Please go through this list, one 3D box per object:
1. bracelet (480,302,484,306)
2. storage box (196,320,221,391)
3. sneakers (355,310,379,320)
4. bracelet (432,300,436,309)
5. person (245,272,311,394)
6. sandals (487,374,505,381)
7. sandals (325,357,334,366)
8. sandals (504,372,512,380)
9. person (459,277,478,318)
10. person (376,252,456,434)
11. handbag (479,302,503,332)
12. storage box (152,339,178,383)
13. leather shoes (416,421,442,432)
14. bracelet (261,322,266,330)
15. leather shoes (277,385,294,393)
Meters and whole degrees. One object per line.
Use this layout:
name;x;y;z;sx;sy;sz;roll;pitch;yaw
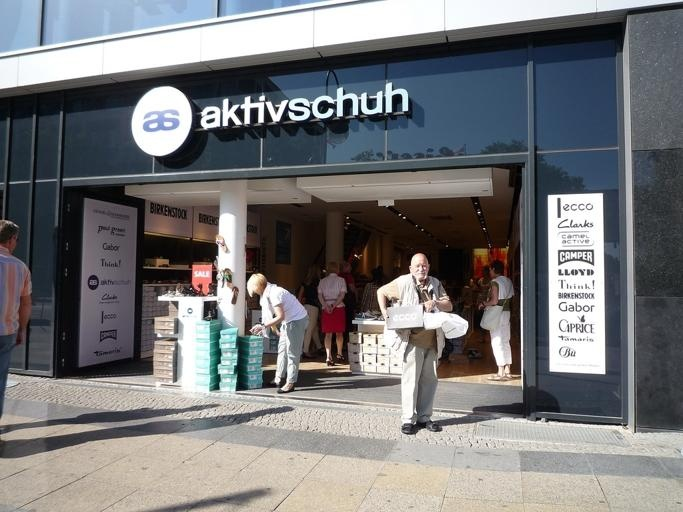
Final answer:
bracelet;2.402;0.836;9.545;0.066;0.072;0.052;6;-44;9
storage box;-2.079;1.547;8.630;0.357;1.058;0.255;-1;6;-16
sneakers;0.469;1.131;10.617;0.481;0.209;0.184;-4;-5;17
bracelet;1.163;0.611;6.953;0.052;0.073;0.062;3;6;32
person;-0.973;1.174;8.700;0.866;1.850;1.034;-1;6;-7
sandals;2.619;2.065;9.436;0.195;0.063;0.112;1;-3;22
sandals;-0.230;2.031;10.731;0.109;0.141;0.350;1;-10;-7
sandals;2.819;2.040;9.456;0.114;0.112;0.027;-4;15;-31
person;4.108;1.329;18.054;0.499;0.591;1.829;17;-19;13
person;0.938;1.091;7.103;0.915;2.237;0.605;1;6;3
handbag;2.545;1.051;9.452;0.343;0.443;0.281;2;6;20
storage box;-2.796;1.661;8.824;0.416;0.690;0.153;2;6;14
leather shoes;1.109;2.159;7.147;0.287;0.113;0.133;-7;-10;31
bracelet;-1.149;1.041;8.284;0.067;0.099;0.045;3;17;8
leather shoes;-0.873;2.013;8.507;0.303;0.127;0.103;11;-25;-30
